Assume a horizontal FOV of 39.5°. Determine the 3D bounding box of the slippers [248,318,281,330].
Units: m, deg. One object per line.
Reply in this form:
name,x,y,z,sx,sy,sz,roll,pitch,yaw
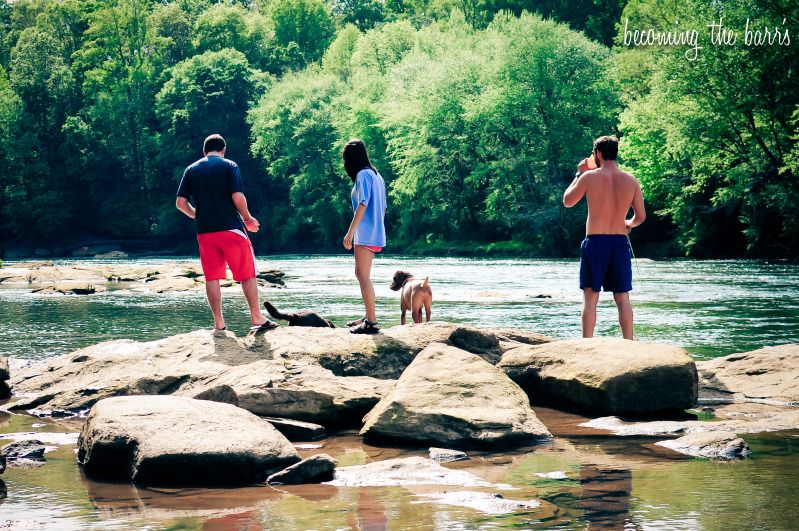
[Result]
slippers,-3.460,1.533,28.888,0.571,0.148,0.276,-3,5,-19
